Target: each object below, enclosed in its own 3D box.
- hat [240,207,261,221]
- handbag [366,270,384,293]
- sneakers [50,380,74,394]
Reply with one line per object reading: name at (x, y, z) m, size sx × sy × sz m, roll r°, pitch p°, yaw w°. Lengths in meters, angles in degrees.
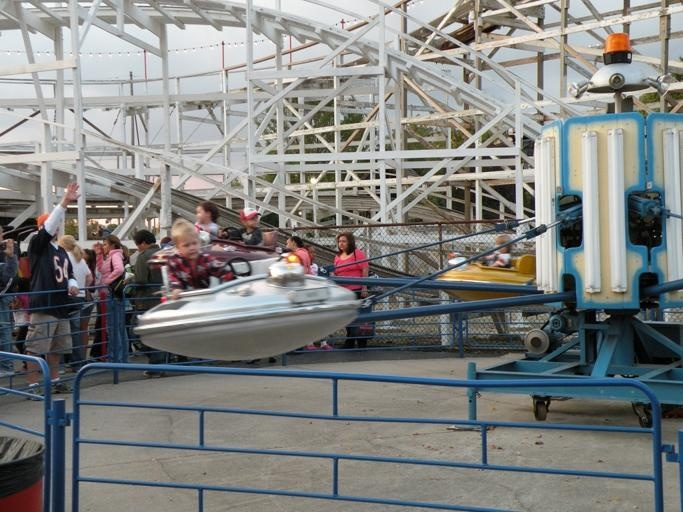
hat at (-1.442, -0.656, 17.621) m, size 0.307 × 0.151 × 0.389 m, roll -2°, pitch -1°, yaw -38°
handbag at (0.650, 0.498, 19.773) m, size 0.350 × 0.327 × 0.162 m, roll 7°, pitch 4°, yaw 29°
sneakers at (-3.762, 1.839, 15.720) m, size 0.533 × 0.189 × 0.183 m, roll 1°, pitch -1°, yaw 3°
